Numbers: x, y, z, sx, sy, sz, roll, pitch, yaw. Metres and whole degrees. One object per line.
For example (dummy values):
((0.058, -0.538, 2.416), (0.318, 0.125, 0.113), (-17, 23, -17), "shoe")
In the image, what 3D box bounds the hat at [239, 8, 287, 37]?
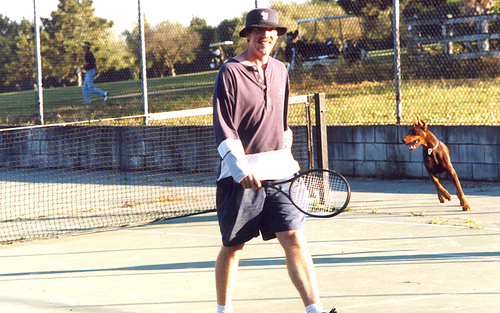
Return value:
((0.279, -1.939, 13.589), (0.463, 0.548, 1.088), (3, -1, -38), "hat")
